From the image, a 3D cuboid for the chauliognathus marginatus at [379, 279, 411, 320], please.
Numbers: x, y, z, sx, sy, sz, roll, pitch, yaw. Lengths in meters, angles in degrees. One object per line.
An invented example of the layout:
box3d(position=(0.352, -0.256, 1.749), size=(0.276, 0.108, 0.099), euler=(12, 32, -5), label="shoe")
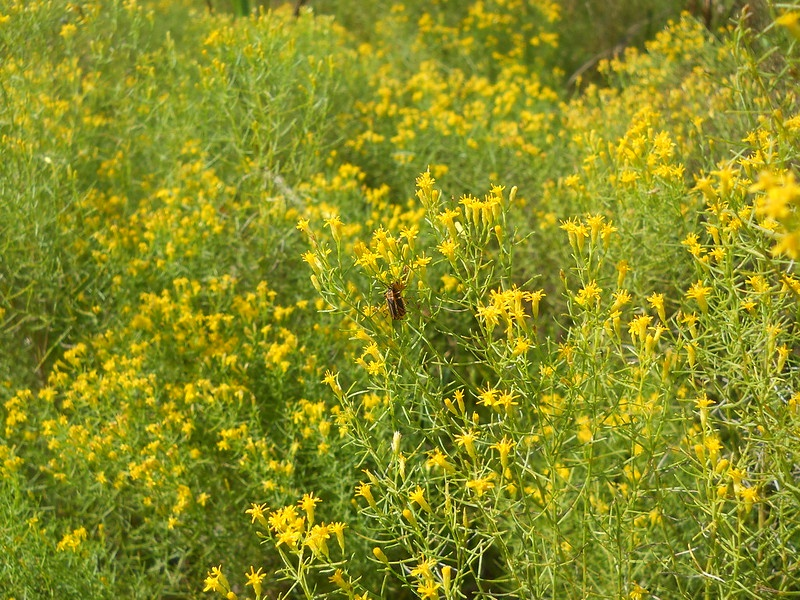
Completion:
box3d(position=(-0.025, 0.011, 5.491), size=(0.125, 0.159, 0.041), euler=(-9, 20, -15), label="chauliognathus marginatus")
